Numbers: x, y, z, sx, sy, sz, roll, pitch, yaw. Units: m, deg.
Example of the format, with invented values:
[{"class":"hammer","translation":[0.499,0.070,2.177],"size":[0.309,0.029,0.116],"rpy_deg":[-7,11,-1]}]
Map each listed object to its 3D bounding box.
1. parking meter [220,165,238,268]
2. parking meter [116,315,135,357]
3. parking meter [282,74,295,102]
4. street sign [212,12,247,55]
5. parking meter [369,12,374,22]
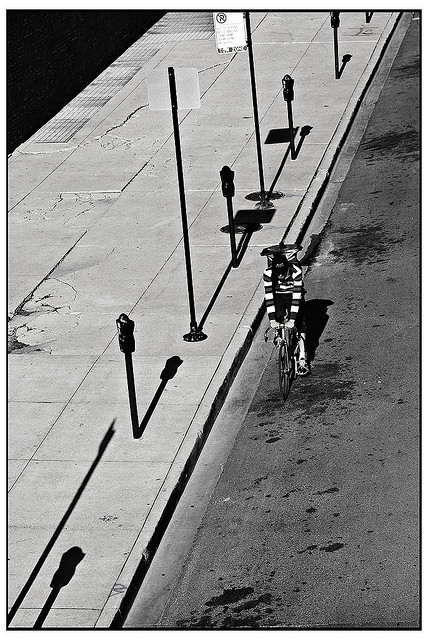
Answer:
[{"class":"parking meter","translation":[0.222,-1.287,13.242],"size":[0.161,1.314,0.422],"rpy_deg":[-8,9,-23]},{"class":"parking meter","translation":[-0.775,0.136,9.192],"size":[0.131,0.375,0.213],"rpy_deg":[-7,18,-6]},{"class":"parking meter","translation":[1.251,-3.981,17.899],"size":[0.156,0.470,0.404],"rpy_deg":[-4,19,2]},{"class":"street sign","translation":[0.217,-4.131,14.797],"size":[0.427,0.823,0.083],"rpy_deg":[-3,58,4]},{"class":"parking meter","translation":[4.136,-8.090,27.790],"size":[0.056,0.111,0.457],"rpy_deg":[10,41,16]}]
